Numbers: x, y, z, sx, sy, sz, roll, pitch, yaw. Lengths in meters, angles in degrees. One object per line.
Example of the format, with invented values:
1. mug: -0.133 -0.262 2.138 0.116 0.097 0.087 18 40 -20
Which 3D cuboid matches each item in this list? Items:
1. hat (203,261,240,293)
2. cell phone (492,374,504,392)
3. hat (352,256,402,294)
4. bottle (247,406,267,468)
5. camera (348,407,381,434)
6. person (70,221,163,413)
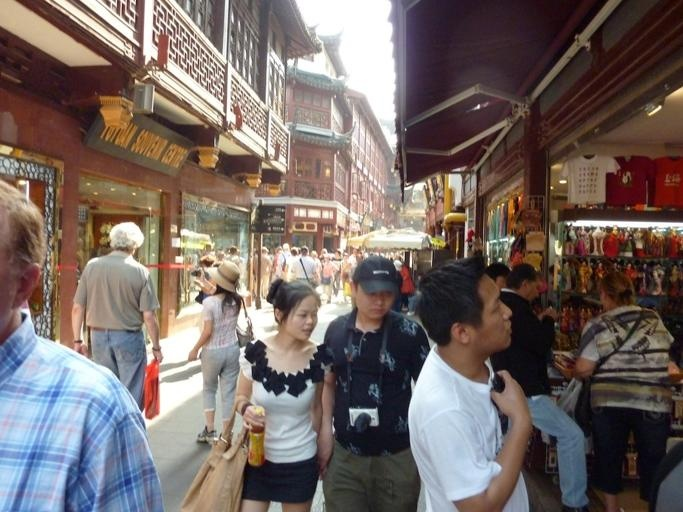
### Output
1. hat: -1.313 0.286 6.288 0.397 0.254 0.390 -7 -8 -20
2. cell phone: 0.936 0.773 3.438 0.050 0.101 0.095 0 -20 2
3. hat: 0.286 0.154 4.411 0.328 0.299 0.507 4 -1 -14
4. bottle: -0.624 1.369 4.111 0.128 0.393 0.173 2 0 -10
5. camera: 0.161 1.200 4.134 0.218 0.158 0.093 3 0 2
6. person: -2.510 0.816 6.198 0.732 2.540 0.686 4 20 -18
